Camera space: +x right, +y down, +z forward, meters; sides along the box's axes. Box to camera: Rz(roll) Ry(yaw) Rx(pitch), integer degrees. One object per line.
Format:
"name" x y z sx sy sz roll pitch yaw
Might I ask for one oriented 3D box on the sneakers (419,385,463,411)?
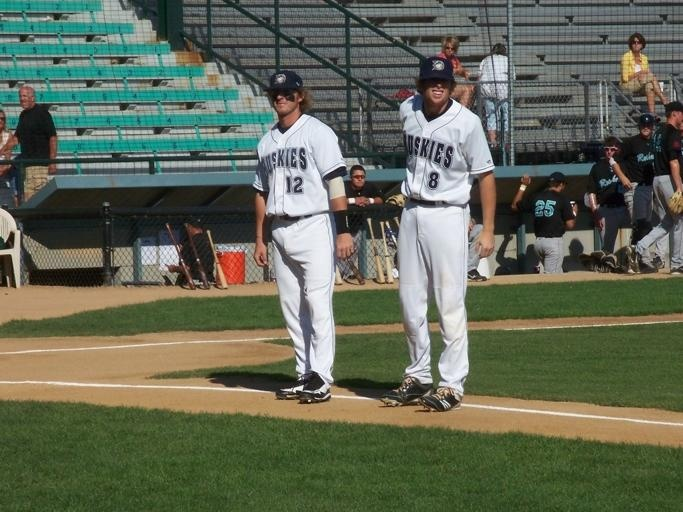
"sneakers" 1.320 1.881 20.878 0.493 0.231 0.277 6 1 -7

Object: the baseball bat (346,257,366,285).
"baseball bat" 0.239 0.263 29.073 0.195 0.755 0.169 16 -47 -45

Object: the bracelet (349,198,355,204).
"bracelet" 0.195 -0.969 28.295 0.090 0.096 0.087 3 2 1

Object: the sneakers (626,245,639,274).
"sneakers" 5.236 0.068 28.385 0.217 0.526 0.168 -4 0 8

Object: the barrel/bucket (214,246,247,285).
"barrel/bucket" -2.029 0.193 29.255 0.552 0.659 0.579 0 12 0

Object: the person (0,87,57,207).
"person" -5.649 -2.053 29.090 1.086 2.096 0.905 -2 2 8

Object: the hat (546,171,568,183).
"hat" 4.002 -1.433 29.332 0.274 0.213 0.327 -2 2 5

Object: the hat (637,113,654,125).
"hat" 5.501 -2.445 28.549 0.180 0.158 0.290 2 -1 11

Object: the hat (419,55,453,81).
"hat" 1.256 -2.432 20.867 0.387 0.322 0.583 5 -1 1

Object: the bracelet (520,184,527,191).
"bracelet" 3.437 -1.281 29.913 0.112 0.113 0.098 25 -18 45

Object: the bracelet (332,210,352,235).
"bracelet" 0.037 -0.443 21.328 0.264 0.452 0.286 -3 4 -9

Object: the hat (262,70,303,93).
"hat" -0.749 -2.342 21.281 0.484 0.291 0.399 -2 2 -3
